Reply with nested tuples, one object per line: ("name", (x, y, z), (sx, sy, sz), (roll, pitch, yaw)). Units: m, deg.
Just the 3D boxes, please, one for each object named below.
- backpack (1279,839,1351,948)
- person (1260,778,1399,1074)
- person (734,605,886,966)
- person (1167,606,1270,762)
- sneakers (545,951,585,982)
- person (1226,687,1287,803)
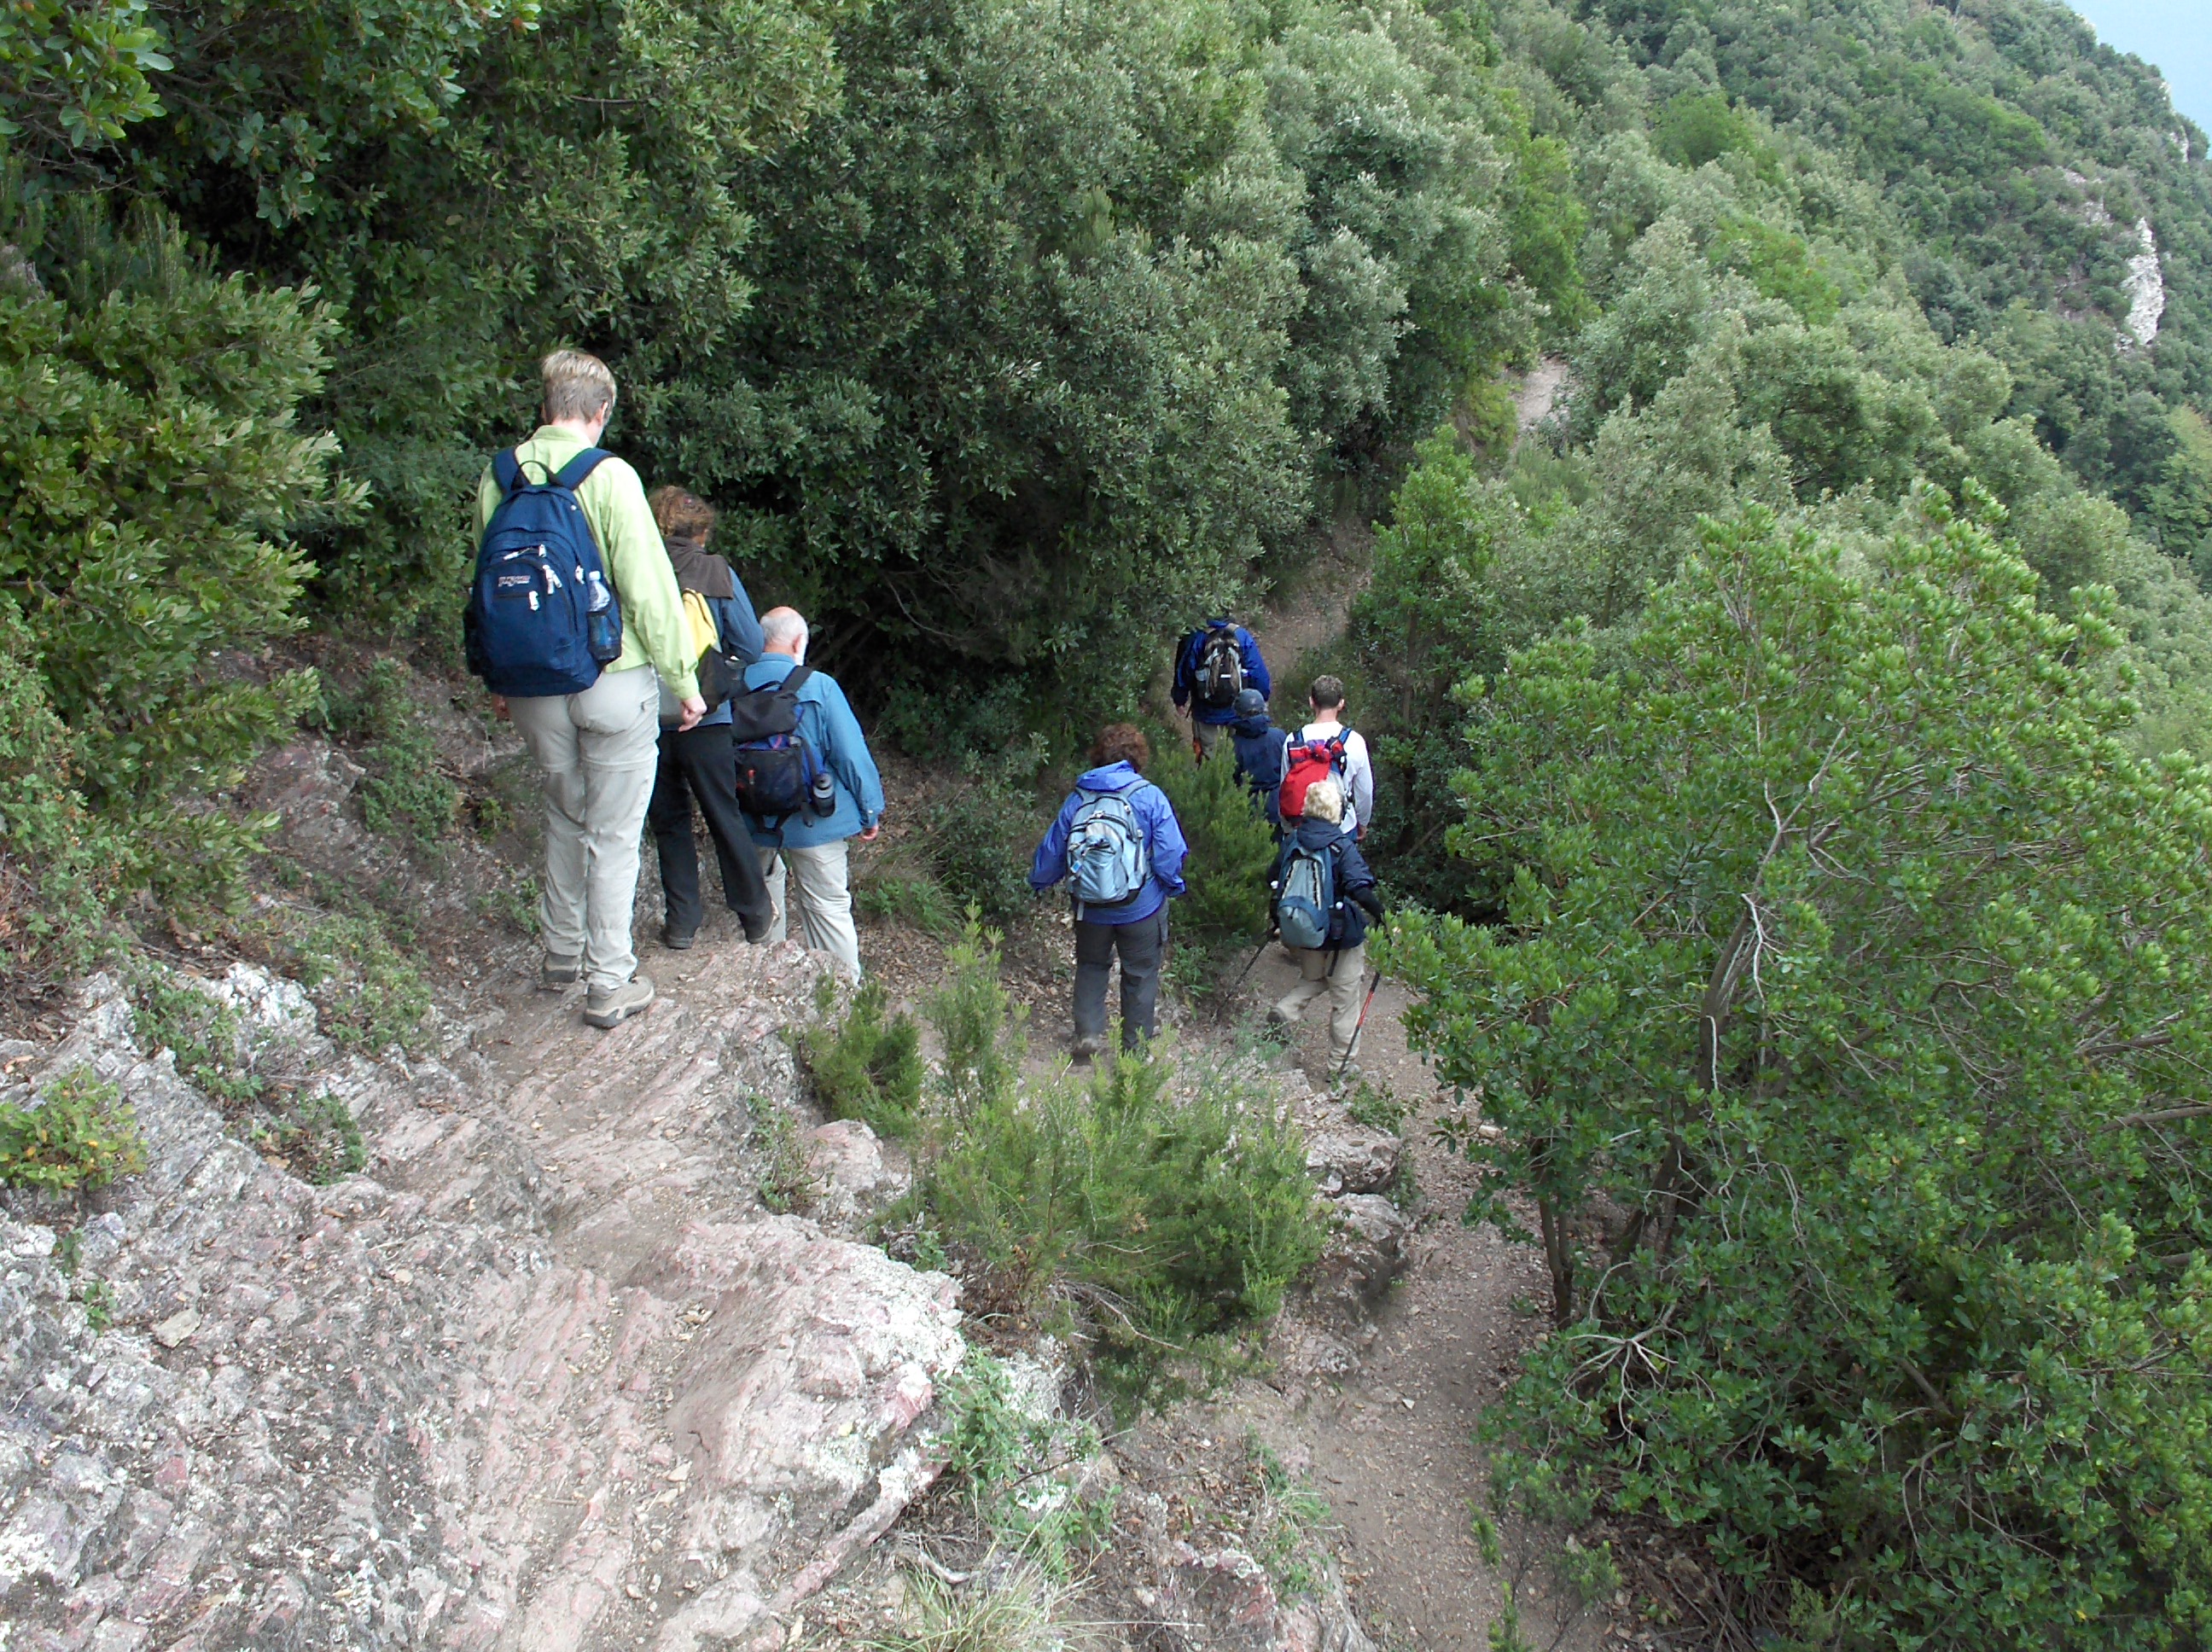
("backpack", (1.364, 0.444, 12.454), (0.444, 0.714, 0.255), (20, 23, 14))
("person", (1.446, 0.625, 12.725), (0.749, 2.016, 0.520), (15, 26, 41))
("person", (-1.715, -0.084, 10.276), (0.826, 2.345, 0.655), (7, 28, 10))
("person", (0.880, -1.056, 14.143), (0.613, 1.045, 0.485), (-3, 15, -10))
("sneakers", (-2.711, 0.702, 9.373), (0.181, 0.228, 0.144), (1, 3, 14))
("person", (1.087, -0.566, 13.701), (0.334, 0.921, 0.491), (-16, 47, -8))
